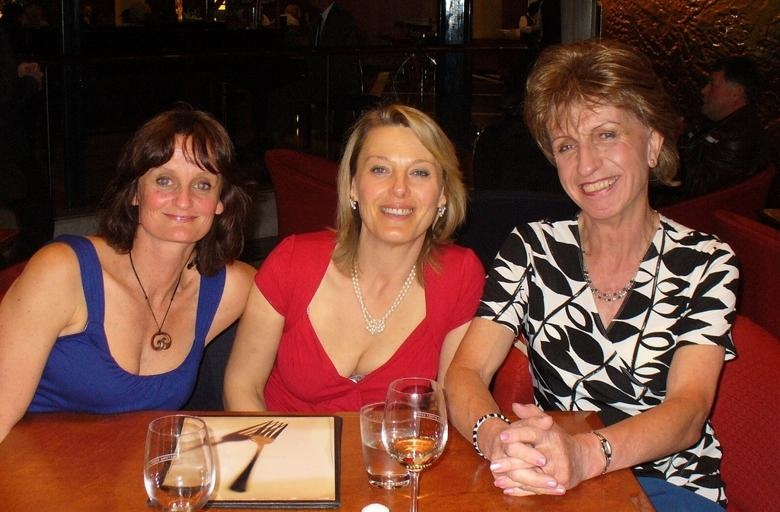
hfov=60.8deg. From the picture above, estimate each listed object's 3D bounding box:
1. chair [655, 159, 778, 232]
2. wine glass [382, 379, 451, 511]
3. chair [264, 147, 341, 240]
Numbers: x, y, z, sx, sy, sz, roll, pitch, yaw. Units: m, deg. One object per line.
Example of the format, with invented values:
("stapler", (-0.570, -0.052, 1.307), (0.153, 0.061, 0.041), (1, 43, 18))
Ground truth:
("chair", (2.124, -0.261, 4.335), (0.548, 0.651, 0.511), (-4, 36, 16))
("wine glass", (0.060, 0.550, 2.012), (0.204, 0.325, 0.183), (13, 15, 39))
("chair", (-0.589, -0.443, 4.438), (0.572, 0.691, 0.540), (-5, 19, -23))
